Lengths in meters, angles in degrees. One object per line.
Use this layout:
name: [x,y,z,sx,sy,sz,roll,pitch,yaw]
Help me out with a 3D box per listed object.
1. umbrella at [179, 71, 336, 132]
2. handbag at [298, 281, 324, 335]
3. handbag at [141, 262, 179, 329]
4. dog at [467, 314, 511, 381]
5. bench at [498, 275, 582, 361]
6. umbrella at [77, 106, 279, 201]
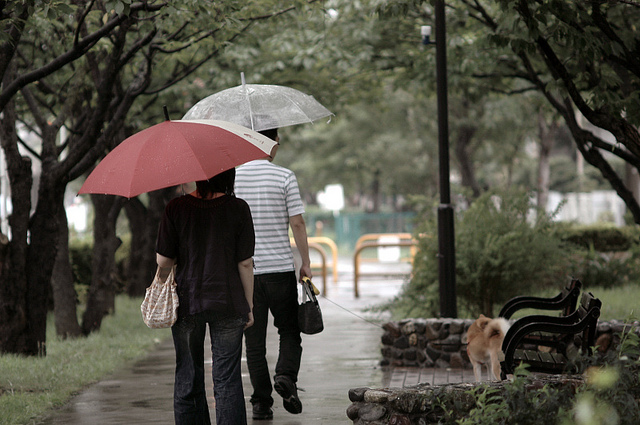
umbrella: [-1.135,-1.842,20.000,1.561,0.793,1.658,-9,7,-4]
handbag: [-0.153,1.318,16.887,0.301,0.791,0.498,-9,0,-12]
handbag: [-2.048,0.934,15.603,0.461,1.073,0.226,-1,21,-18]
dog: [2.346,1.884,17.285,0.500,1.006,1.004,-1,-9,-2]
bench: [3.177,1.676,17.562,0.971,1.324,1.338,3,0,8]
umbrella: [-1.862,-0.687,15.593,2.275,1.042,0.533,0,-6,-8]
